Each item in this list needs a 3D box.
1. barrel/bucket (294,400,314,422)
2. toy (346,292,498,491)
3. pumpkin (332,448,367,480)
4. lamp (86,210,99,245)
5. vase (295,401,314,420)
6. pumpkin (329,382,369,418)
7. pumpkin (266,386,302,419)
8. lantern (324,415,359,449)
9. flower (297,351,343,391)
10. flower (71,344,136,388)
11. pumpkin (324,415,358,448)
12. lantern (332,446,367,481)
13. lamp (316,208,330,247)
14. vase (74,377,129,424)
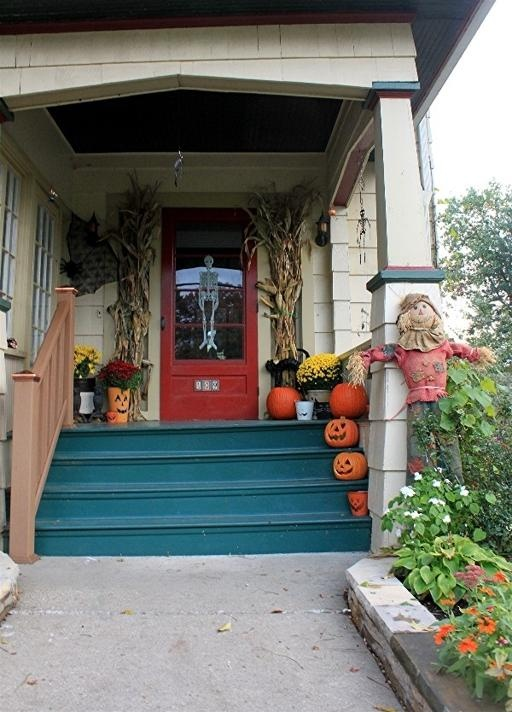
[{"bbox_3d":[0.376,0.420,4.014,0.136,0.148,0.308,-1,-6,3],"label":"barrel/bucket"},{"bbox_3d":[0.822,0.145,2.574,0.492,0.928,0.584,5,-8,-42],"label":"toy"},{"bbox_3d":[0.552,0.636,3.036,0.167,0.164,0.167,-7,-11,29],"label":"pumpkin"},{"bbox_3d":[-1.578,-1.228,4.910,0.102,0.323,0.113,1,-24,-13],"label":"lamp"},{"bbox_3d":[0.371,0.423,3.975,0.138,0.118,0.127,0,-6,-5],"label":"vase"},{"bbox_3d":[0.623,0.274,3.486,0.228,0.228,0.238,2,1,43],"label":"pumpkin"},{"bbox_3d":[0.225,0.374,4.242,0.252,0.315,0.255,1,-3,9],"label":"pumpkin"},{"bbox_3d":[0.521,0.473,3.177,0.176,0.169,0.179,-1,-10,14],"label":"lantern"},{"bbox_3d":[0.517,0.117,4.156,0.293,0.300,0.306,-1,-3,-1],"label":"flower"},{"bbox_3d":[-1.338,0.133,4.527,0.489,0.358,0.234,6,-46,-24],"label":"flower"},{"bbox_3d":[0.535,0.477,3.216,0.175,0.168,0.179,-1,-10,13],"label":"pumpkin"},{"bbox_3d":[0.547,0.639,3.033,0.168,0.163,0.168,-8,-11,32],"label":"lantern"},{"bbox_3d":[0.627,-1.219,4.924,0.126,0.333,0.115,0,-6,-7],"label":"lamp"},{"bbox_3d":[-1.387,0.388,4.538,0.423,0.440,0.313,3,-7,-25],"label":"vase"}]
